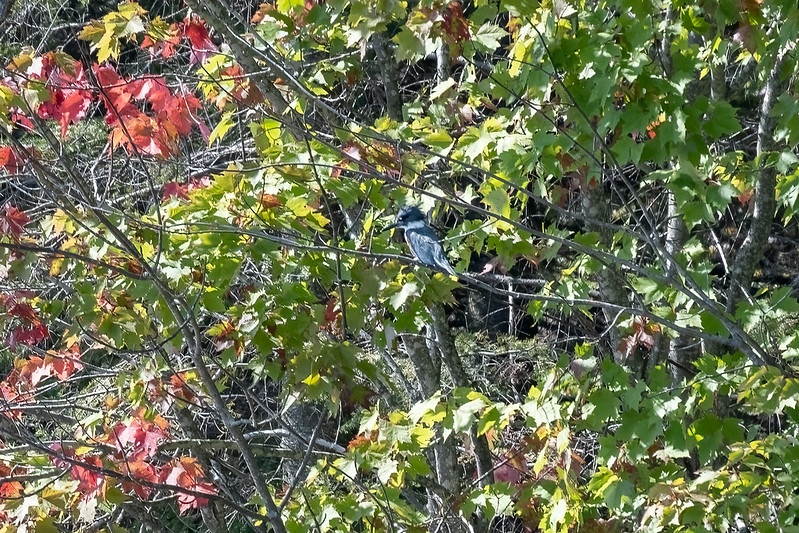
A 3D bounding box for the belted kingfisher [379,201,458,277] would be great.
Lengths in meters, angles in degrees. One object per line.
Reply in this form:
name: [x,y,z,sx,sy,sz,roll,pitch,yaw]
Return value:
belted kingfisher: [0.180,-0.223,11.169,0.587,0.586,0.250,0,-8,20]
